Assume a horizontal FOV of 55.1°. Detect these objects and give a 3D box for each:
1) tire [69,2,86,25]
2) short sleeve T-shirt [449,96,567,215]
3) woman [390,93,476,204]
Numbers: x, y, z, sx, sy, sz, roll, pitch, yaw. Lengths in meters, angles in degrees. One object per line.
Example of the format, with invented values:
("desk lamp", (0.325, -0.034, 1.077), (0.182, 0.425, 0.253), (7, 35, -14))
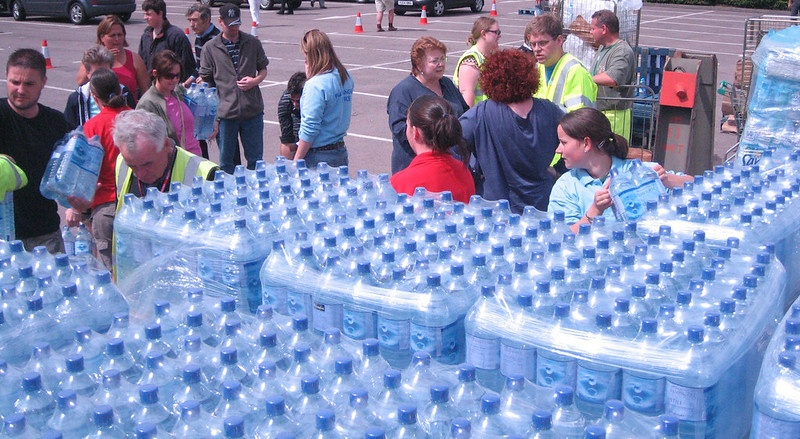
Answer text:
("tire", (-11.001, -7.113, 26.220), (0.503, 0.514, 0.192), (10, 22, 24))
("short sleeve T-shirt", (1.300, -0.757, 8.854), (1.258, 1.272, 0.743), (-6, 11, -9))
("woman", (0.311, -0.676, 7.735), (1.085, 1.068, 0.620), (-17, 26, -31))
